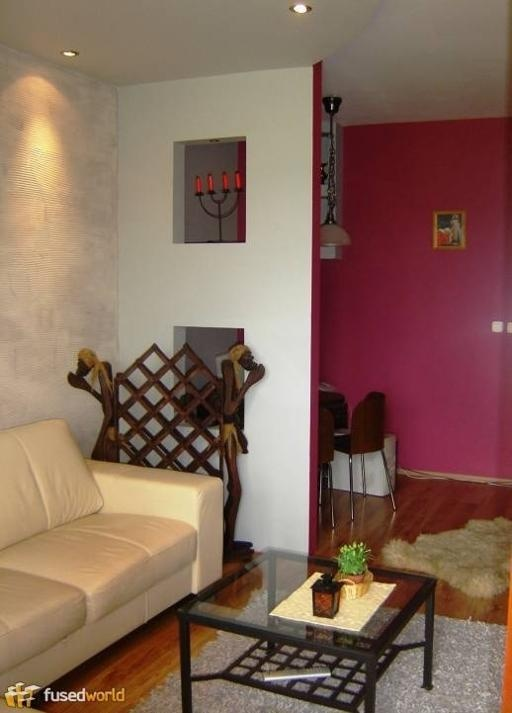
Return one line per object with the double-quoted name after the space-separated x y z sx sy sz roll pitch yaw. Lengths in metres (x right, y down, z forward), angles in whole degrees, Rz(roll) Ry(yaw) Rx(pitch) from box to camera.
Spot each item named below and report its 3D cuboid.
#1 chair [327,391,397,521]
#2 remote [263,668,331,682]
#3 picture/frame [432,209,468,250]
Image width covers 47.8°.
0.802 0.672 4.203 0.378 0.719 0.387 -10 0 25 "chair"
0.118 0.963 1.762 0.219 0.025 0.072 0 -2 -2 "remote"
1.638 -1.075 4.866 0.340 0.429 0.031 1 3 23 "picture/frame"
